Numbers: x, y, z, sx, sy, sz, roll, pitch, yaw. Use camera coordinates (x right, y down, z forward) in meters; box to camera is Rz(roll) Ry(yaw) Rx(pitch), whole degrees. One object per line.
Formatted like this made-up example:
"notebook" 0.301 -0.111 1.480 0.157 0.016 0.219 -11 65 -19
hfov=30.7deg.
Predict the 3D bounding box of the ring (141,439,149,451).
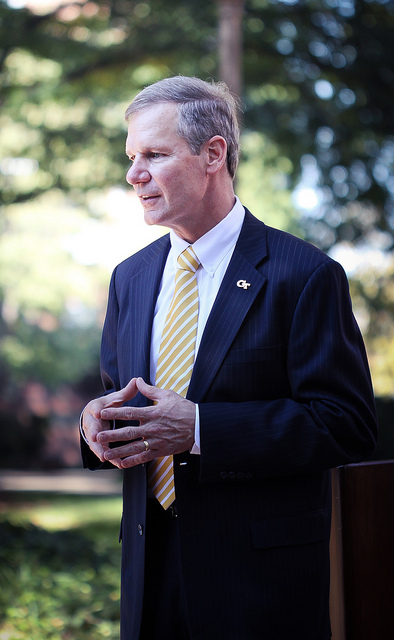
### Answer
"ring" -0.128 0.321 1.827 0.013 0.040 0.025 -9 36 -16
